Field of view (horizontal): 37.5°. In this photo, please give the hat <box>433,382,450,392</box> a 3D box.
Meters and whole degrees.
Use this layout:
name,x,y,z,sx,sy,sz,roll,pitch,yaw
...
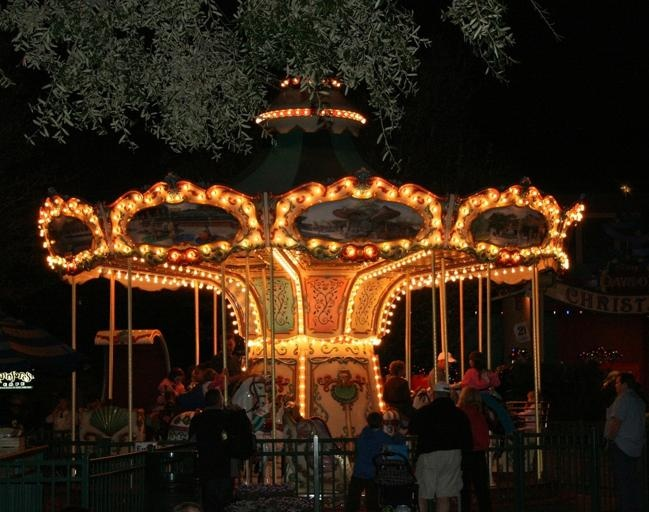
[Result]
name,x,y,z,sx,sy,sz,roll,pitch,yaw
hat,1.419,1.628,11.691,0.208,0.113,0.286,1,-2,-4
